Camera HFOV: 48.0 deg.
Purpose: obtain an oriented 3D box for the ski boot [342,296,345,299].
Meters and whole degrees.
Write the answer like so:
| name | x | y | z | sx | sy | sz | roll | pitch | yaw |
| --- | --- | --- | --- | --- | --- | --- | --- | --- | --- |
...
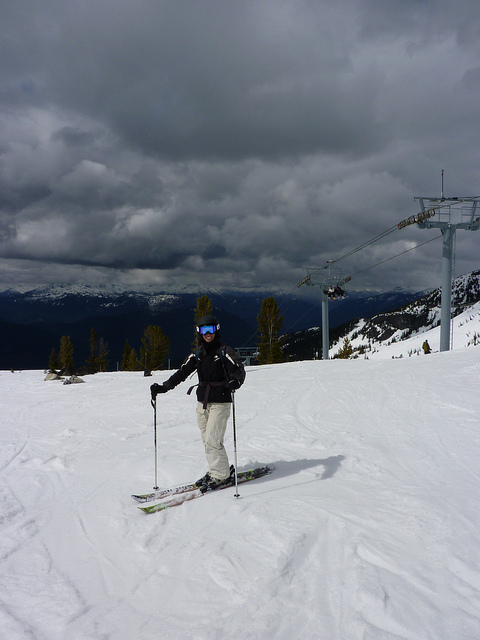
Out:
| name | x | y | z | sx | sy | sz | roll | pitch | yaw |
| --- | --- | --- | --- | --- | --- | --- | --- | --- | --- |
| ski boot | 7.756 | -1.754 | 40.514 | 0.151 | 0.159 | 0.086 | 7 | 18 | 35 |

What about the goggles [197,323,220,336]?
| name | x | y | z | sx | sy | sz | roll | pitch | yaw |
| --- | --- | --- | --- | --- | --- | --- | --- | --- | --- |
| goggles | -0.502 | 0.140 | 8.331 | 0.301 | 0.145 | 0.162 | -2 | 2 | -6 |

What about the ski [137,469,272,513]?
| name | x | y | z | sx | sy | sz | roll | pitch | yaw |
| --- | --- | --- | --- | --- | --- | --- | --- | --- | --- |
| ski | -0.475 | 2.577 | 8.180 | 2.378 | 0.127 | 0.245 | -3 | 2 | -44 |

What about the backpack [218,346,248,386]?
| name | x | y | z | sx | sy | sz | roll | pitch | yaw |
| --- | --- | --- | --- | --- | --- | --- | --- | --- | --- |
| backpack | -0.097 | 0.701 | 8.122 | 0.517 | 0.561 | 0.395 | -1 | 2 | 20 |

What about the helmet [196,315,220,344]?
| name | x | y | z | sx | sy | sz | roll | pitch | yaw |
| --- | --- | --- | --- | --- | --- | --- | --- | --- | --- |
| helmet | -0.502 | 0.101 | 8.348 | 0.321 | 0.438 | 0.425 | 0 | -35 | -1 |
